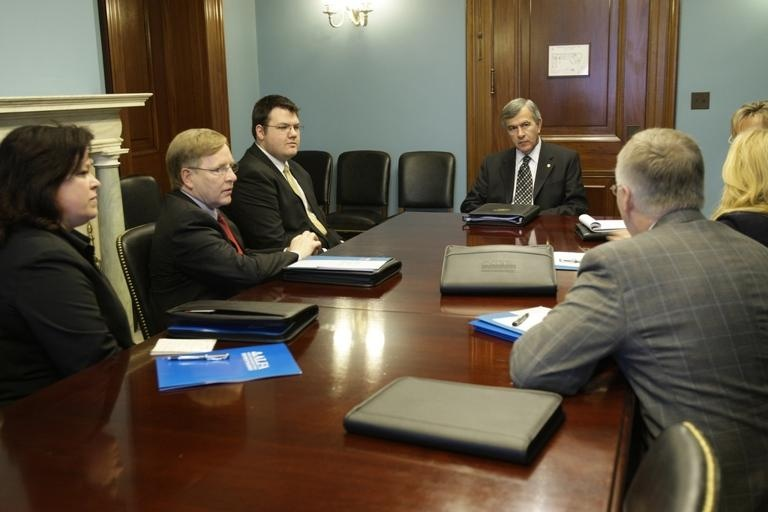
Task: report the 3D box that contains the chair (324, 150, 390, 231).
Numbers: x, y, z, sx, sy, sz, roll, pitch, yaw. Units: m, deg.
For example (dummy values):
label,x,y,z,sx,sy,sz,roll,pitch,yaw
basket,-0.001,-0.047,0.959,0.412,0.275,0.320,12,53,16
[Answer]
label,x,y,z,sx,sy,sz,roll,pitch,yaw
chair,-0.266,-0.478,5.827,0.691,1.127,0.764,3,6,9

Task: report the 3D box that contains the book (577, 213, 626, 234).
label,x,y,z,sx,sy,sz,roll,pitch,yaw
book,1.189,-0.176,3.084,0.206,0.048,0.195,-3,9,0

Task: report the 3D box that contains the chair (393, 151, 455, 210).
label,x,y,z,sx,sy,sz,roll,pitch,yaw
chair,0.442,-0.746,5.576,0.538,0.935,0.554,1,7,9

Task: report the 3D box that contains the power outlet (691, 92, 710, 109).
label,x,y,z,sx,sy,sz,roll,pitch,yaw
power outlet,2.779,-1.359,4.935,0.150,0.142,0.035,1,8,18

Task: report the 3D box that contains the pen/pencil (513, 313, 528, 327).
label,x,y,z,sx,sy,sz,roll,pitch,yaw
pen/pencil,0.460,0.217,1.890,0.024,0.007,0.089,8,19,28

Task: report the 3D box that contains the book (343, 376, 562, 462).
label,x,y,z,sx,sy,sz,roll,pitch,yaw
book,0.184,0.396,1.385,0.322,0.053,0.232,2,8,22
